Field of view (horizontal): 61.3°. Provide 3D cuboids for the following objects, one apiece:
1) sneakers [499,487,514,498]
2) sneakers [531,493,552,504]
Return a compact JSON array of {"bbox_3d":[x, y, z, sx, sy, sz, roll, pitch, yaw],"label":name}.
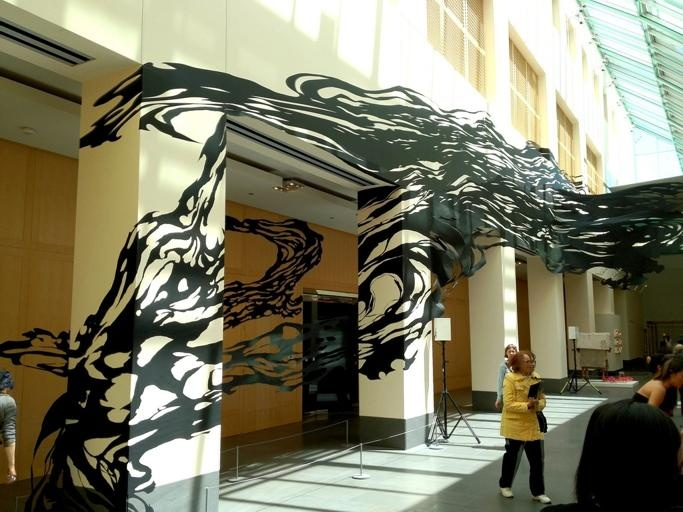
[{"bbox_3d":[2.188,3.162,7.761,0.078,0.084,0.204,1,-10,-17],"label":"sneakers"},{"bbox_3d":[2.607,3.154,7.558,0.089,0.079,0.189,2,-8,-44],"label":"sneakers"}]
